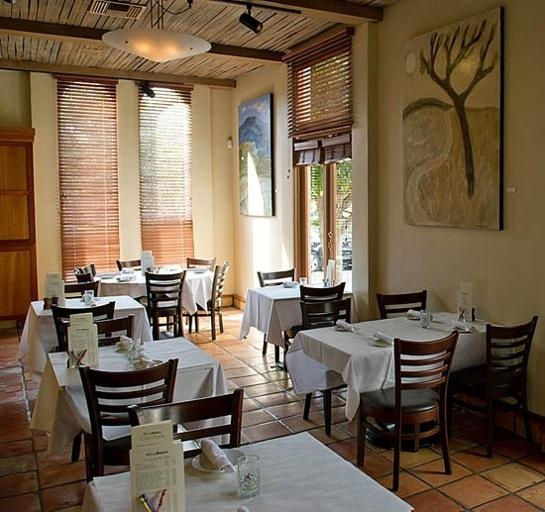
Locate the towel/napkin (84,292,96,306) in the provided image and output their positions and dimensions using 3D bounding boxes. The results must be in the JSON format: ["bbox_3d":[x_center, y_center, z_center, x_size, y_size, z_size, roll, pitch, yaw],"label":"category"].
[{"bbox_3d":[-1.720,0.418,4.277,0.086,0.130,0.121,-1,0,-4],"label":"towel/napkin"}]

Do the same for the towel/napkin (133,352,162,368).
[{"bbox_3d":[-0.754,0.624,2.739,0.092,0.037,0.096,9,2,30],"label":"towel/napkin"}]

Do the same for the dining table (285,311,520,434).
[{"bbox_3d":[0.908,0.680,3.377,1.344,0.388,0.782,-3,6,-32],"label":"dining table"}]

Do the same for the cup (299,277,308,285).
[{"bbox_3d":[0.368,0.278,5.362,0.094,0.103,0.138,-3,-20,3],"label":"cup"}]

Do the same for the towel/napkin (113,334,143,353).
[{"bbox_3d":[-1.011,0.606,3.124,0.166,0.091,0.173,4,-2,-20],"label":"towel/napkin"}]

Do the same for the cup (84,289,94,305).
[{"bbox_3d":[-1.783,0.402,4.306,0.086,0.150,0.142,1,5,2],"label":"cup"}]

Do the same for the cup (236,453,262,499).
[{"bbox_3d":[-0.065,0.688,1.418,0.085,0.137,0.096,-1,1,-1],"label":"cup"}]
